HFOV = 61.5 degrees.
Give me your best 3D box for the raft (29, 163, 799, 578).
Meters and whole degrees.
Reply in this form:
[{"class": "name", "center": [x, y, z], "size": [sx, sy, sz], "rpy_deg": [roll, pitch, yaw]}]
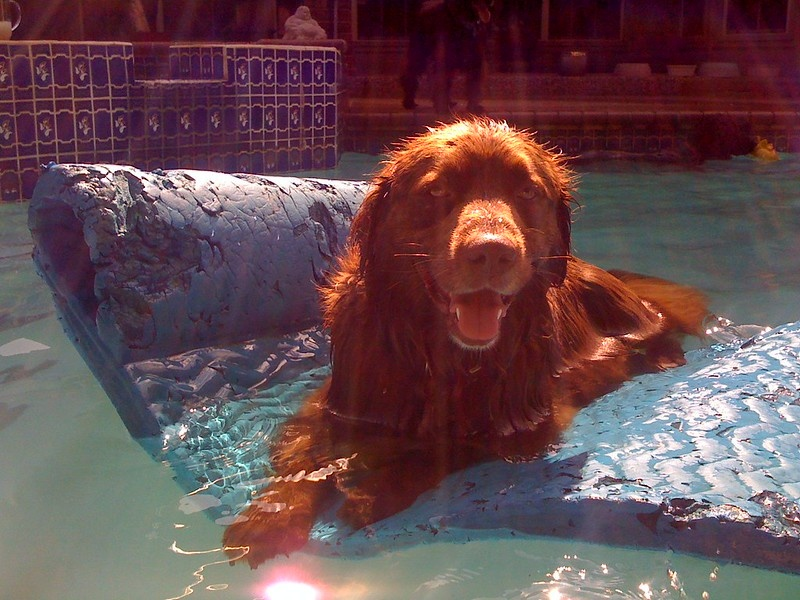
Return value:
[{"class": "raft", "center": [-0.079, 0.295, 2.763], "size": [2.109, 0.780, 2.104], "rpy_deg": [-5, 11, -29]}]
